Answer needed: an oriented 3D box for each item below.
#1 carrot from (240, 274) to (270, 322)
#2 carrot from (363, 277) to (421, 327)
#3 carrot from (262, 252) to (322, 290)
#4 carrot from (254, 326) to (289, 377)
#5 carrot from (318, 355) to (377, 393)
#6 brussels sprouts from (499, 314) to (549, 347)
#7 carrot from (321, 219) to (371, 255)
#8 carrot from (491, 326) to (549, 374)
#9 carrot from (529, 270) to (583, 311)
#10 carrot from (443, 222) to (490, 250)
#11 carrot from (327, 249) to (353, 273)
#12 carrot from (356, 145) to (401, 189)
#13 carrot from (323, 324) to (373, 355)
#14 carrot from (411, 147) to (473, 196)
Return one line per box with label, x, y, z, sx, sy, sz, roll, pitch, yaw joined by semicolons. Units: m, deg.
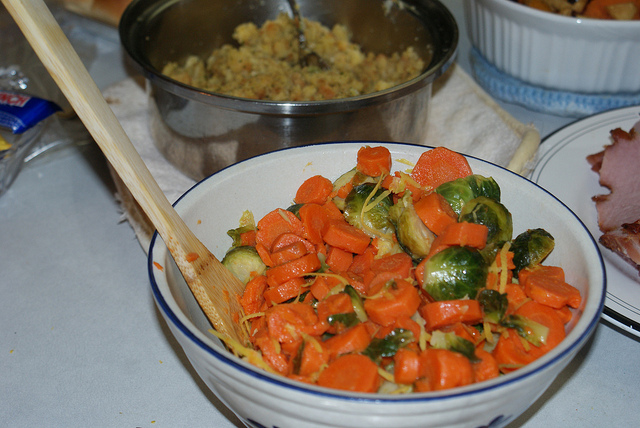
carrot;-0.185;0.237;1.632;0.048;0.088;0.114;5;105;-4
carrot;0.192;0.255;1.530;0.117;0.048;0.134;-30;35;10
carrot;-0.087;0.166;1.678;0.181;0.176;0.054;-23;94;-16
carrot;-0.130;0.355;1.507;0.027;0.088;0.097;-25;47;-5
carrot;0.068;0.385;1.406;0.141;0.018;0.084;5;64;2
brussels sprouts;0.535;0.299;1.484;0.092;0.031;0.072;22;94;8
carrot;0.070;0.063;1.655;0.123;0.101;0.092;-13;24;-38
carrot;0.512;0.346;1.477;0.117;0.039;0.131;-30;67;-13
carrot;0.630;0.198;1.551;0.153;0.042;0.143;19;31;18
carrot;0.401;0.056;1.549;0.104;0.043;0.066;6;92;-7
carrot;0.054;0.133;1.649;0.059;0.058;0.060;37;101;41
carrot;0.170;-0.144;1.729;0.114;0.120;0.130;-4;93;-8
carrot;0.075;0.322;1.447;0.085;0.078;0.034;-29;95;-41
carrot;0.361;-0.141;1.720;0.149;0.154;0.107;-9;18;-34
